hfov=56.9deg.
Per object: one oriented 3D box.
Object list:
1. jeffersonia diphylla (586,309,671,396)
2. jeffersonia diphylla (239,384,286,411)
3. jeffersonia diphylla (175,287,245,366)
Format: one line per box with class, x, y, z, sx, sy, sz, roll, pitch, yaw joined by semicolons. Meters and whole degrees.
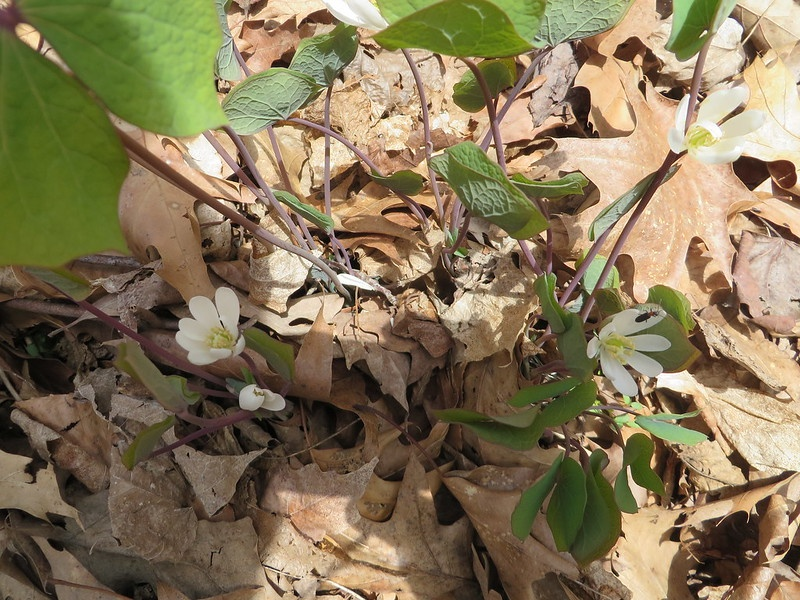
jeffersonia diphylla;0.535;0.105;1.828;0.191;0.228;0.193;1;20;3
jeffersonia diphylla;-0.353;0.251;1.866;0.096;0.066;0.048;10;7;0
jeffersonia diphylla;-0.466;0.078;1.872;0.168;0.200;0.113;-16;-11;13
